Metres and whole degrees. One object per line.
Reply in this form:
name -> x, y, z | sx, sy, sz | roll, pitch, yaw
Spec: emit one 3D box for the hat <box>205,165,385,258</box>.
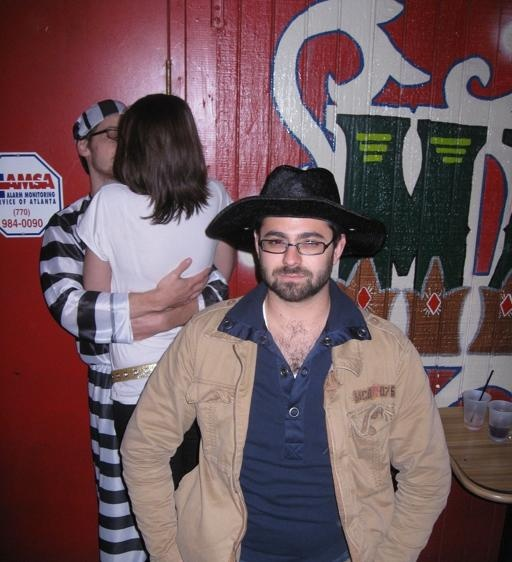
hat -> 0.148, -0.260, 1.947 | 0.404, 0.229, 0.515 | 6, -17, 8
